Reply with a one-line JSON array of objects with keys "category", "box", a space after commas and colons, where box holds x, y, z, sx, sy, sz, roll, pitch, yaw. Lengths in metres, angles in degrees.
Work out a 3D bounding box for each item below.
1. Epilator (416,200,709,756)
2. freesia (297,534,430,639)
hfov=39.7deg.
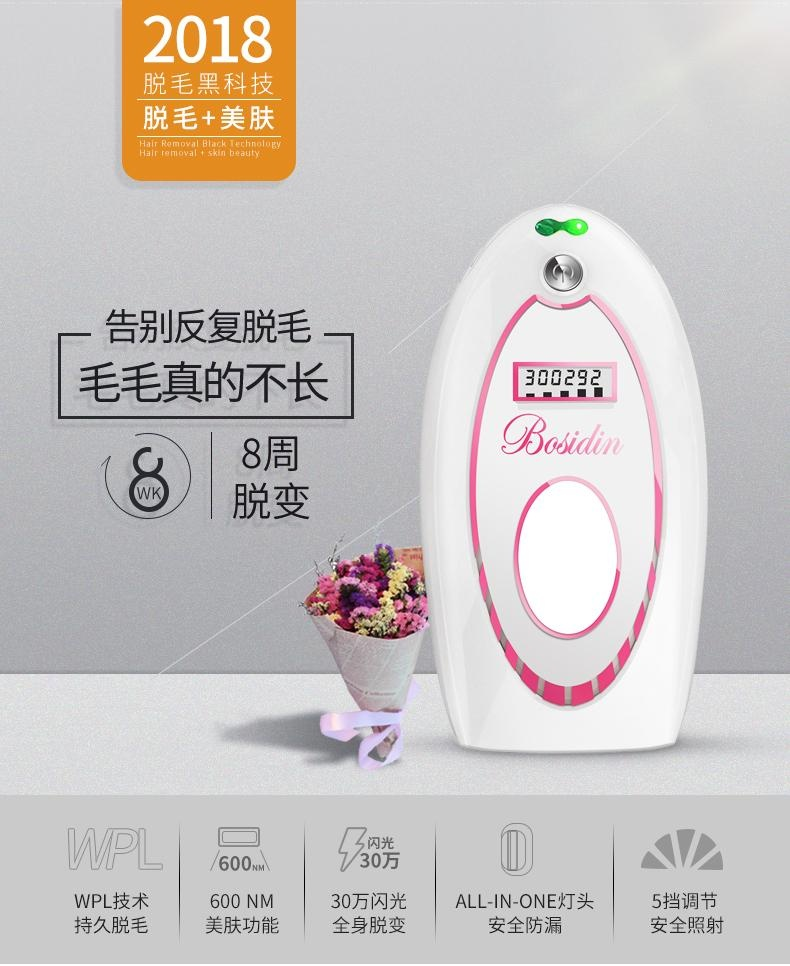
[{"category": "Epilator", "box": [0.134, -0.015, 0.914, 0.244, 0.429, 0.146, 0, 17, -1]}, {"category": "freesia", "box": [-0.009, 0.087, 0.930, 0.097, 0.046, 0.124, 26, 34, 34]}]
